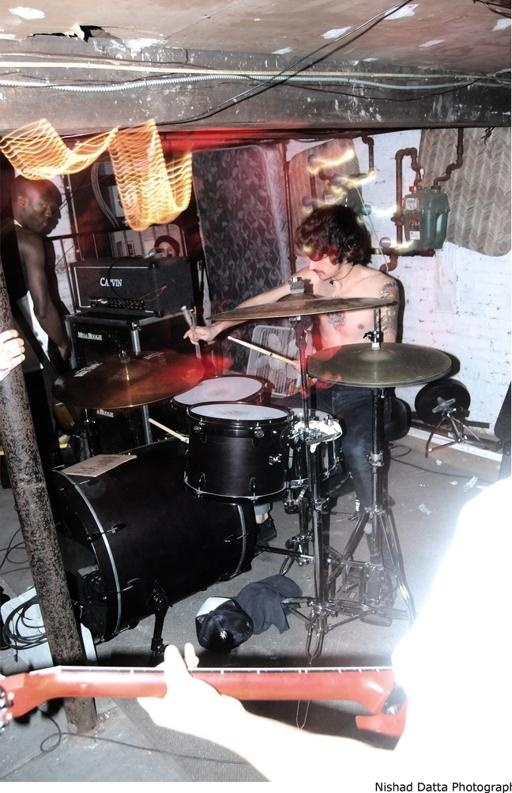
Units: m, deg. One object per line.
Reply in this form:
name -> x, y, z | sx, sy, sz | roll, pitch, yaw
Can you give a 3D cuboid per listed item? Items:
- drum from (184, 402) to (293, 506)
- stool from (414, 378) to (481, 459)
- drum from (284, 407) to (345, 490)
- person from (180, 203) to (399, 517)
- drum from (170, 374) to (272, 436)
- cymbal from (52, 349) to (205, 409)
drum -> -0.018, 0.297, 2.738 | 0.527, 0.389, 0.522 | 5, 1, 0
stool -> 1.432, 0.168, 4.427 | 0.413, 0.663, 0.463 | -2, 18, 18
drum -> 0.291, 0.248, 2.735 | 0.317, 0.302, 0.337 | 0, 22, 12
person -> 0.370, -0.147, 3.699 | 1.210, 2.008, 0.985 | 12, 23, 43
drum -> -0.175, -0.021, 3.199 | 0.388, 0.129, 0.388 | -6, 17, 2
cymbal -> -0.633, -0.097, 3.026 | 0.770, 0.179, 0.539 | -12, 18, -13
